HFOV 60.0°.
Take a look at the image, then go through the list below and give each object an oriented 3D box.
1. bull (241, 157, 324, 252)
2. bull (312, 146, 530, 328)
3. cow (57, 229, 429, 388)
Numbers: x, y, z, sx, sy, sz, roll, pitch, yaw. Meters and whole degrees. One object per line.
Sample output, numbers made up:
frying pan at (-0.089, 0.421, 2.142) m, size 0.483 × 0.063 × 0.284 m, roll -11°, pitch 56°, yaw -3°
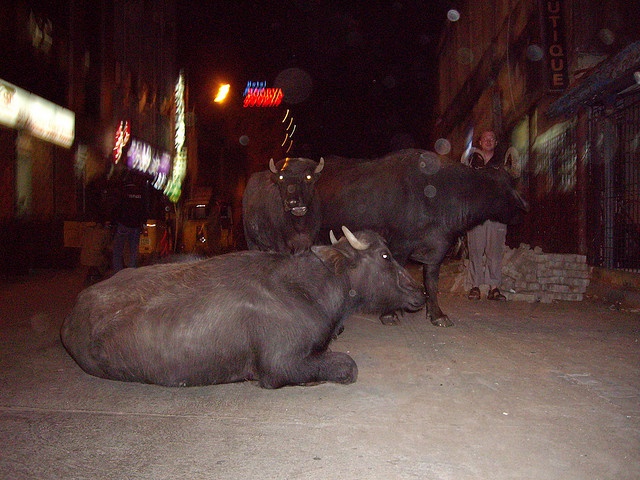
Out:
bull at (-0.749, -0.348, 9.917) m, size 0.993 × 2.061 × 3.151 m, roll 1°, pitch 1°, yaw -19°
bull at (1.275, -0.141, 9.001) m, size 3.765 × 3.375 × 1.419 m, roll 10°, pitch 24°, yaw 35°
cow at (-0.859, 0.739, 5.727) m, size 2.711 × 1.432 × 1.675 m, roll 2°, pitch 1°, yaw -9°
